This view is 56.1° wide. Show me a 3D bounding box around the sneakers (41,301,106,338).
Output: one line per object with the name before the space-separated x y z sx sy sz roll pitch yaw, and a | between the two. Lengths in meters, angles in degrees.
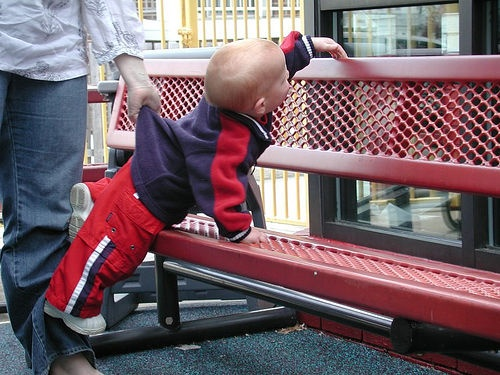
sneakers | -0.533 0.377 1.365 0.194 0.073 0.074 9 16 -1

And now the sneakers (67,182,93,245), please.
sneakers | -0.473 0.077 1.342 0.061 0.164 0.076 -3 -4 31

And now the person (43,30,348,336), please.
person | -0.172 -0.007 1.434 0.888 0.792 0.494 0 15 0
